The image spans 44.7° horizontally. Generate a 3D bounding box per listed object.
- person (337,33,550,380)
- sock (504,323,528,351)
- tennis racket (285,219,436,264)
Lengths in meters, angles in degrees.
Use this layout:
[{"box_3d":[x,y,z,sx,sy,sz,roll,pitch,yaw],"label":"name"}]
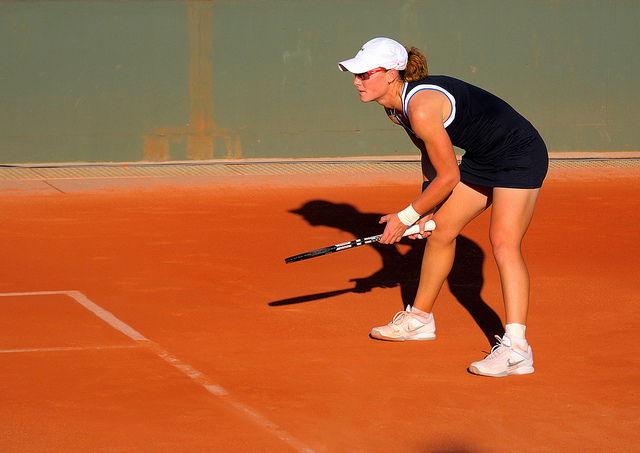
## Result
[{"box_3d":[0.938,-0.145,5.539,1.275,2.292,0.640,4,16,15],"label":"person"},{"box_3d":[1.386,0.763,5.467,0.205,0.194,0.130,5,-9,-2],"label":"sock"},{"box_3d":[0.372,0.160,7.128,1.510,0.185,0.116,-12,-12,7],"label":"tennis racket"}]
